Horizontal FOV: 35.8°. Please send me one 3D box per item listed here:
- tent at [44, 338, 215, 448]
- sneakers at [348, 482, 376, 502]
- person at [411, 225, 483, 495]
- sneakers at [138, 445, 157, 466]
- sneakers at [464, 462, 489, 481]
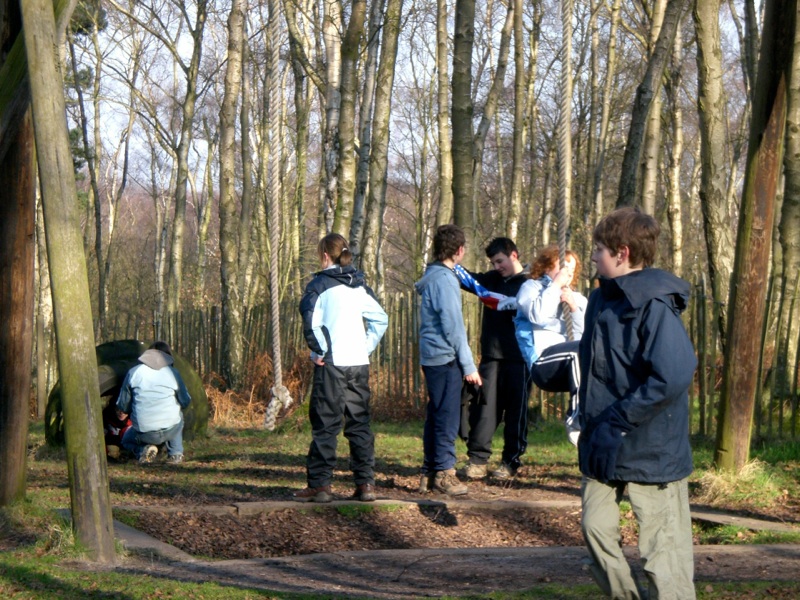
[{"bbox_3d":[-3.509,1.115,16.078,1.625,1.457,1.344,0,-15,-16],"label":"tent"},{"bbox_3d":[-0.365,2.025,12.958,0.100,0.169,0.339,5,-16,-14],"label":"sneakers"},{"bbox_3d":[0.509,0.651,13.451,0.630,2.156,0.434,-1,0,0],"label":"person"},{"bbox_3d":[-3.063,1.878,15.038,0.201,0.244,0.165,5,-4,31],"label":"sneakers"},{"bbox_3d":[0.846,1.948,14.112,0.198,0.191,0.225,4,-1,15],"label":"sneakers"}]
